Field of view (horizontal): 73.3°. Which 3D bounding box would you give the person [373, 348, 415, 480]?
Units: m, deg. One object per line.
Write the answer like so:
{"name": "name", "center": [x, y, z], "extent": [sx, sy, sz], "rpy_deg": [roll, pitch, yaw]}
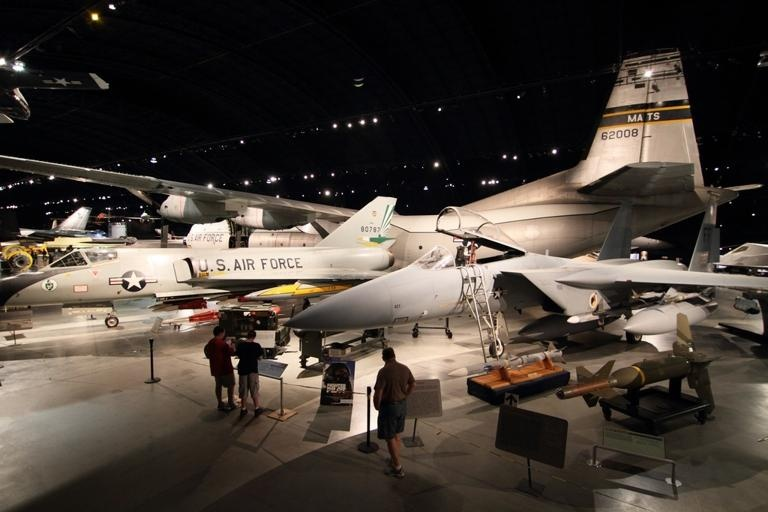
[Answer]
{"name": "person", "center": [0.230, 3.189, 10.552], "extent": [0.802, 2.002, 0.303], "rpy_deg": [-5, 2, -2]}

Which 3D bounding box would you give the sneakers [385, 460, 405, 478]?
{"name": "sneakers", "center": [0.206, 4.376, 10.557], "extent": [0.511, 0.157, 0.200], "rpy_deg": [5, 5, 21]}

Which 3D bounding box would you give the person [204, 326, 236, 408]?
{"name": "person", "center": [-3.830, 2.653, 12.208], "extent": [0.614, 1.774, 0.565], "rpy_deg": [-6, 2, -15]}

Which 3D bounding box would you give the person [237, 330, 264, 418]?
{"name": "person", "center": [-3.125, 2.735, 12.094], "extent": [0.626, 1.733, 0.543], "rpy_deg": [-6, 2, -15]}
